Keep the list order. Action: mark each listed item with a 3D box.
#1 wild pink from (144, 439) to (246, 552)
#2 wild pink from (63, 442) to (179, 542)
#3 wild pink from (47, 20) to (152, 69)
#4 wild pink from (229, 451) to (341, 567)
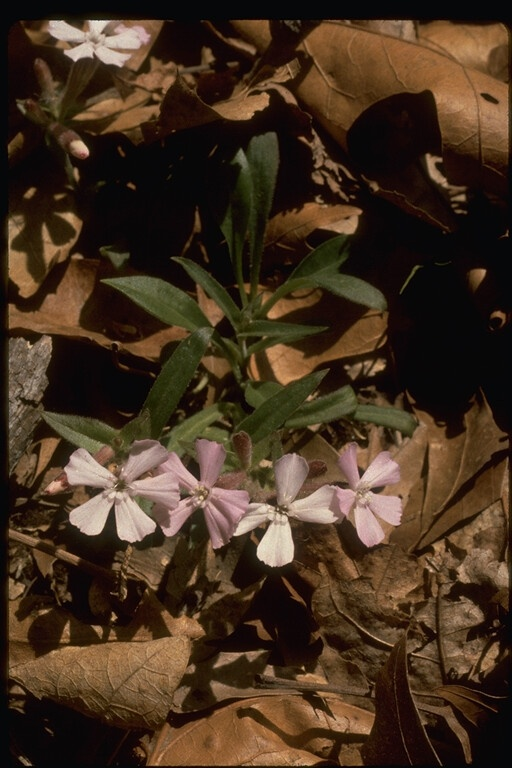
[{"bbox_3d":[-0.185,0.348,2.322,0.347,0.120,0.333,-15,70,-20],"label":"wild pink"},{"bbox_3d":[-0.435,0.407,2.320,0.342,0.481,0.239,-5,29,-19],"label":"wild pink"},{"bbox_3d":[-0.599,-1.281,2.655,0.320,0.151,0.257,-1,27,-11],"label":"wild pink"},{"bbox_3d":[0.105,0.404,2.261,0.351,0.358,0.118,13,-4,-12],"label":"wild pink"}]
